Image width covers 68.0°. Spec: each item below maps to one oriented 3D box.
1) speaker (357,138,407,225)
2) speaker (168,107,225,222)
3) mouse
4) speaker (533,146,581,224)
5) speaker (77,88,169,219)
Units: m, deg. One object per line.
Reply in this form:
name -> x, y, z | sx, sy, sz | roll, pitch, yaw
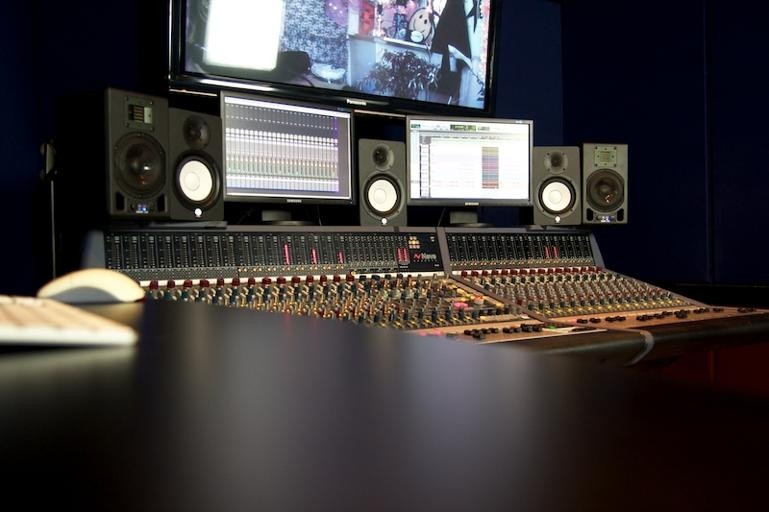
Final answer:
speaker -> -0.004, -0.344, 2.672 | 0.275, 0.408, 0.136 | -6, 7, -18
speaker -> -0.711, -0.342, 2.151 | 0.069, 0.424, 0.263 | 1, 9, 37
mouse -> -0.497, 0.055, 0.970 | 0.116, 0.041, 0.086 | 5, -6, 1
speaker -> 0.891, -0.360, 2.935 | 0.272, 0.409, 0.143 | -3, 7, 5
speaker -> -0.965, -0.352, 2.041 | 0.346, 0.447, 0.277 | -1, 8, 24
